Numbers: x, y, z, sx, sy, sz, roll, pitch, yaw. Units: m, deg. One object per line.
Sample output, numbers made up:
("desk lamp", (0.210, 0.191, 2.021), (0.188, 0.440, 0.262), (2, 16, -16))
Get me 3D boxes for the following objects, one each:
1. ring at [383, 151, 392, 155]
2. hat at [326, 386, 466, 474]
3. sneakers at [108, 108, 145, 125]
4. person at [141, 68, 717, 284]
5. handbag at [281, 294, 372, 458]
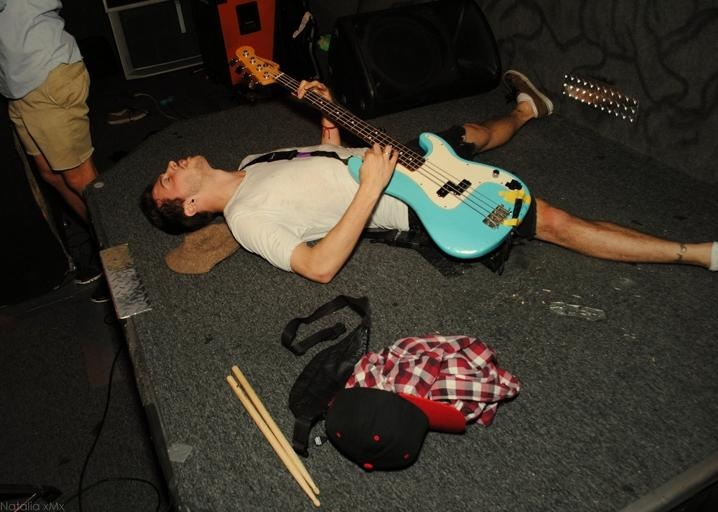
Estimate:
("ring", (0.133, -0.475, 2.623), (0.029, 0.015, 0.040), (16, 28, 36))
("hat", (0.136, 0.684, 2.268), (0.456, 0.342, 0.169), (-3, 11, 18))
("sneakers", (-1.717, -1.011, 4.136), (0.234, 0.056, 0.129), (-7, 39, 12))
("person", (0.150, -0.099, 2.855), (2.123, 0.586, 1.317), (-2, 53, 10))
("handbag", (-0.123, 0.554, 2.615), (0.373, 0.111, 0.641), (10, 54, 26))
